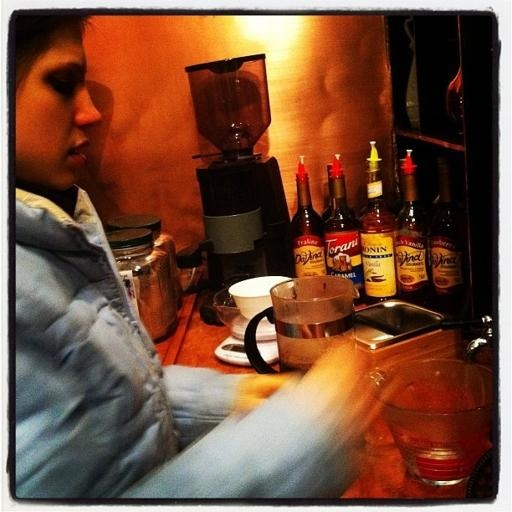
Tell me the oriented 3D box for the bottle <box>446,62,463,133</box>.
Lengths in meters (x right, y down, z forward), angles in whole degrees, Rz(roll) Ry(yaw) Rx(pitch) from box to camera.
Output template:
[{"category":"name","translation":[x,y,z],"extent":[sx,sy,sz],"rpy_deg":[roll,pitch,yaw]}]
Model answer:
[{"category":"bottle","translation":[0.336,-0.259,0.812],"extent":[0.025,0.105,0.089],"rpy_deg":[-5,11,23]}]

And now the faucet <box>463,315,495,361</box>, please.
[{"category":"faucet","translation":[0.326,0.118,0.703],"extent":[0.038,0.060,0.088],"rpy_deg":[-4,10,25]}]

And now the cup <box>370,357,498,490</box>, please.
[{"category":"cup","translation":[0.236,0.212,0.660],"extent":[0.164,0.109,0.158],"rpy_deg":[-4,6,0]}]

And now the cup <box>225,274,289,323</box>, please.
[{"category":"cup","translation":[0.001,0.076,0.831],"extent":[0.092,0.035,0.087],"rpy_deg":[-9,12,2]}]

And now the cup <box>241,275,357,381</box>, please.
[{"category":"cup","translation":[0.048,0.120,0.702],"extent":[0.145,0.115,0.084],"rpy_deg":[-4,8,-5]}]
